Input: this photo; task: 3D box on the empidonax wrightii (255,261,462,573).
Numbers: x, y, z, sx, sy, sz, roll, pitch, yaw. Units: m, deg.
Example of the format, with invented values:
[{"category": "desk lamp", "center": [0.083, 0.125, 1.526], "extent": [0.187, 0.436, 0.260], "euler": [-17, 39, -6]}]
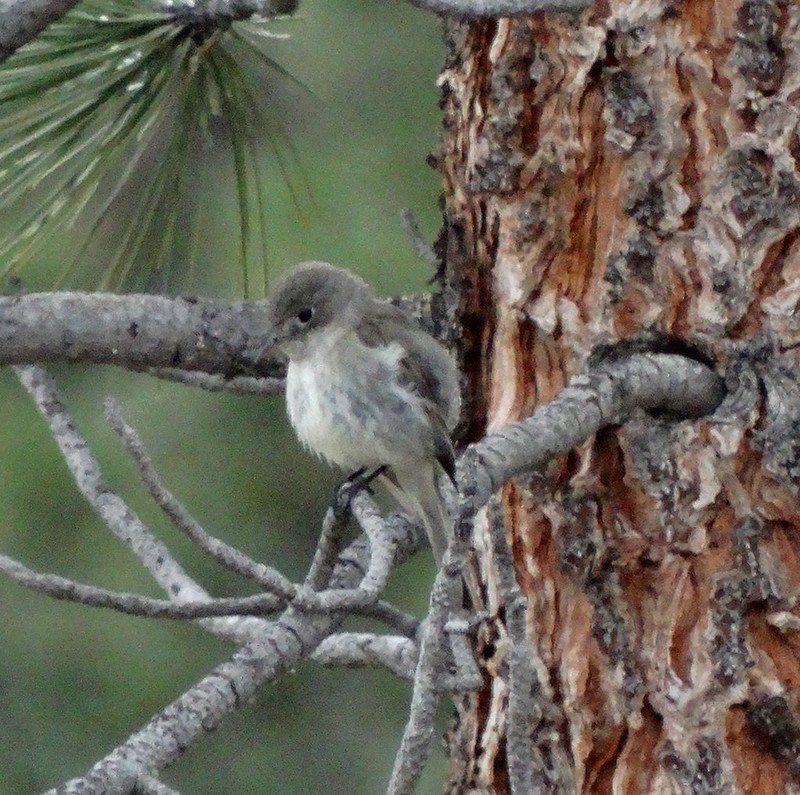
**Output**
[{"category": "empidonax wrightii", "center": [-0.086, 0.009, 3.002], "extent": [0.281, 0.695, 0.524], "euler": [-1, 6, 23]}]
